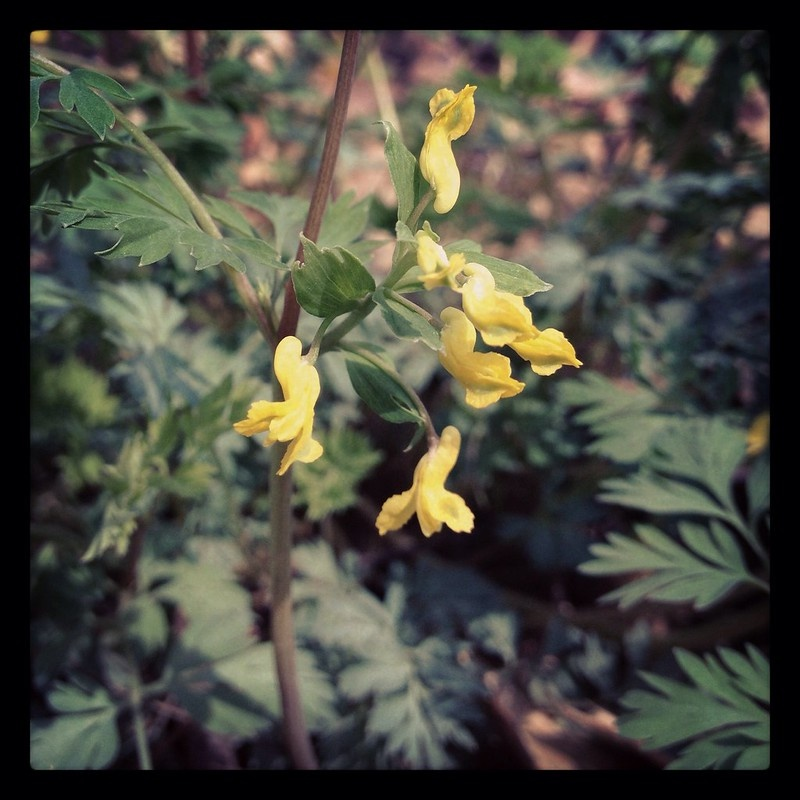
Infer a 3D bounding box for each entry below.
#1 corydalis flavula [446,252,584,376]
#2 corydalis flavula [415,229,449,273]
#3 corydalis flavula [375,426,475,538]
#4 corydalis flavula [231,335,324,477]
[{"bbox_3d":[0.122,-0.088,0.980,0.200,0.073,0.077,31,22,6],"label":"corydalis flavula"},{"bbox_3d":[0.033,-0.160,0.924,0.041,0.043,0.018,1,2,-13],"label":"corydalis flavula"},{"bbox_3d":[0.025,0.115,1.027,0.124,0.098,0.043,-33,-13,33],"label":"corydalis flavula"},{"bbox_3d":[-0.153,0.008,0.994,0.119,0.147,0.076,9,-3,-44],"label":"corydalis flavula"}]
